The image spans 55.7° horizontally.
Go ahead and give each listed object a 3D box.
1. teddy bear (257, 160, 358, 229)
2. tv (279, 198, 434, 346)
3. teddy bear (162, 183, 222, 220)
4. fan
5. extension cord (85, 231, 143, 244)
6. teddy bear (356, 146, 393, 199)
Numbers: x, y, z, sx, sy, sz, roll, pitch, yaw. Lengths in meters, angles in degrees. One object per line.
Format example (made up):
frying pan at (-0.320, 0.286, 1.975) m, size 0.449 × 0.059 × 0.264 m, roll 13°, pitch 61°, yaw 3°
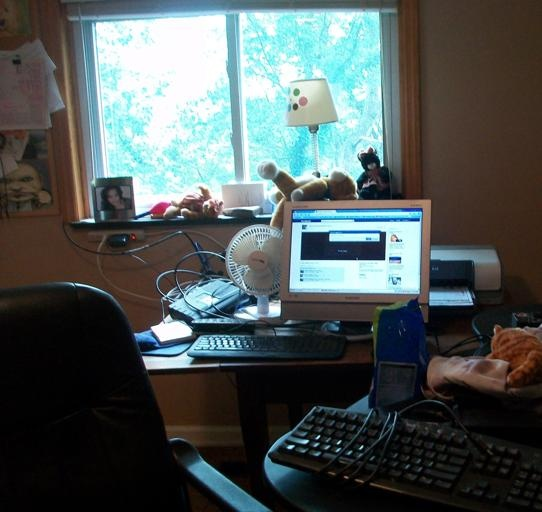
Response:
teddy bear at (0.159, -0.251, 2.006) m, size 0.356 × 0.128 × 0.371 m, roll -6°, pitch -17°, yaw -1°
tv at (0.244, 0.038, 1.465) m, size 0.402 × 0.356 × 0.073 m, roll 0°, pitch -1°, yaw 14°
teddy bear at (-0.343, -0.240, 2.255) m, size 0.210 × 0.095 × 0.155 m, roll -5°, pitch 5°, yaw -5°
fan at (-0.034, 0.046, 1.659) m, size 0.217 × 0.291 × 0.166 m, roll 0°, pitch 3°, yaw -6°
extension cord at (-0.705, -0.090, 2.309) m, size 0.278 × 0.060 × 0.032 m, roll -4°, pitch 14°, yaw 4°
teddy bear at (0.410, -0.330, 2.044) m, size 0.135 × 0.207 × 0.147 m, roll -2°, pitch 14°, yaw 10°
